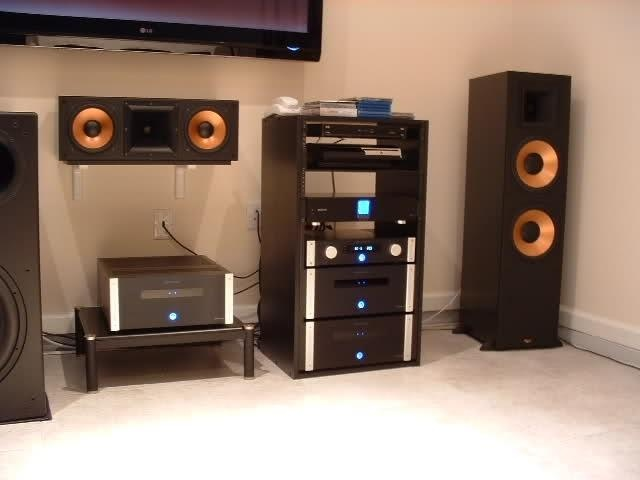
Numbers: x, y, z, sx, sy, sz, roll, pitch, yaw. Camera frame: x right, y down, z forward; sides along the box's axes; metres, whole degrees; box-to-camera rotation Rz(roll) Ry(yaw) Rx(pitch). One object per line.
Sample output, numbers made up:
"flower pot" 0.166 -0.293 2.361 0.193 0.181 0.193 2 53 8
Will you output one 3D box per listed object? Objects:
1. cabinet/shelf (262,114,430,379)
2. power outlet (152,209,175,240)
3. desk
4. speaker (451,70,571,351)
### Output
"cabinet/shelf" 0.097 -0.008 2.541 0.703 1.075 0.504 -3 12 -17
"power outlet" -0.731 -0.064 2.701 0.103 0.133 0.101 10 -9 -5
"desk" -0.703 0.445 2.370 0.868 0.235 0.440 1 11 2
"speaker" 0.962 -0.146 2.803 0.446 1.306 0.449 0 11 -4
